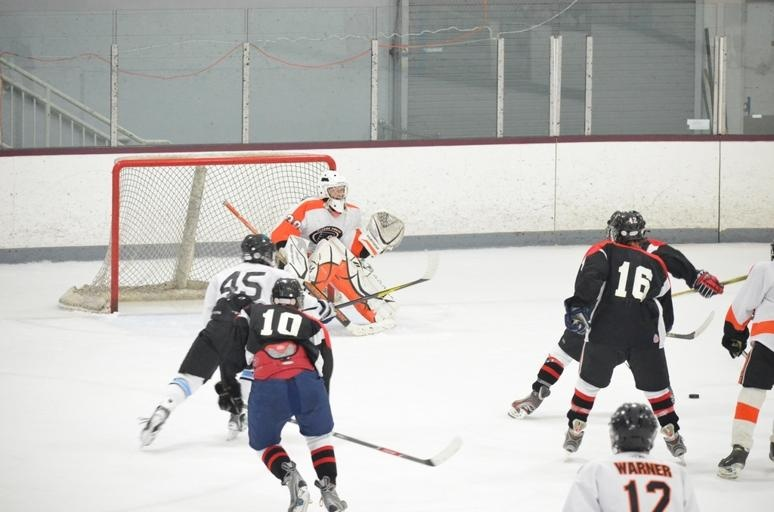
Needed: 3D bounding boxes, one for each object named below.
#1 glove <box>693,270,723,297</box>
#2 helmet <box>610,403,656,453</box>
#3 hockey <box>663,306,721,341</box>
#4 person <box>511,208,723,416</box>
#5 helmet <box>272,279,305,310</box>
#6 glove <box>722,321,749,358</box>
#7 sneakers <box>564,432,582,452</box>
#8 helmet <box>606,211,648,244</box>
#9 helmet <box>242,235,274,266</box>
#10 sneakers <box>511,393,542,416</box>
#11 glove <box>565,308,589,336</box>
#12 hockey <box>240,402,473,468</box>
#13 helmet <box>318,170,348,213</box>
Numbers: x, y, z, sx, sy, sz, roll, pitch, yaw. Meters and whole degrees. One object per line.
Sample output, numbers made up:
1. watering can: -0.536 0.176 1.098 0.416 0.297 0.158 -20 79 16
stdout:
1. glove: 2.428 0.222 7.921 0.236 0.174 0.093 19 -2 -12
2. helmet: 1.505 1.063 6.534 0.270 0.287 0.295 1 46 4
3. hockey: 2.510 0.618 8.676 0.371 0.100 0.373 4 23 43
4. person: 1.978 0.508 8.769 1.619 1.837 0.679 7 7 0
5. helmet: -0.678 0.266 7.260 0.185 0.203 0.215 2 8 7
6. glove: 2.567 0.622 7.735 0.238 0.236 0.094 -38 12 -28
7. sneakers: 1.354 1.351 7.689 0.117 0.152 0.163 16 4 7
8. helmet: 1.789 -0.219 7.815 0.218 0.253 0.267 0 15 -4
9. helmet: -0.971 -0.056 7.719 0.251 0.232 0.194 -8 16 -28
10. sneakers: 1.066 1.153 8.073 0.260 0.131 0.111 -32 0 14
11. glove: 1.391 0.477 7.589 0.149 0.195 0.075 -14 15 32
12. hockey: -0.131 1.388 7.534 1.371 0.144 0.465 15 -28 7
13. helmet: -0.525 -0.602 9.646 0.270 0.347 0.361 -11 25 -41
